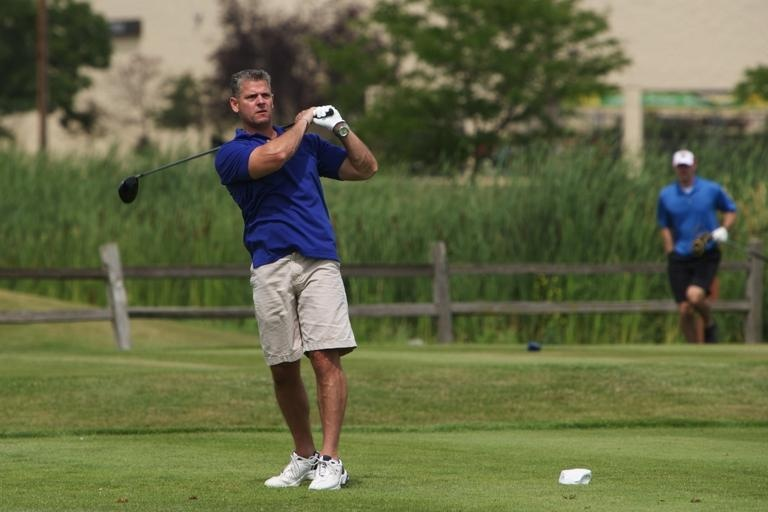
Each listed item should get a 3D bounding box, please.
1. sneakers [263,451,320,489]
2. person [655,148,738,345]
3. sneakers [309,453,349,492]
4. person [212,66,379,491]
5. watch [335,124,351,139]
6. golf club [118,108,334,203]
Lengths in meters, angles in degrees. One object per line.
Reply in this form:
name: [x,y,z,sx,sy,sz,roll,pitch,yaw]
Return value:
sneakers: [-0.631,1.561,13.557,0.487,0.220,0.174,-3,2,-35]
person: [2.519,-0.076,15.120,0.543,1.498,0.468,-9,16,-31]
sneakers: [-0.407,1.536,13.383,0.280,0.228,0.212,-2,13,-2]
person: [-0.737,0.157,13.819,0.969,3.434,0.781,0,0,-2]
watch: [-0.313,-0.900,13.715,0.097,0.110,0.105,9,14,-5]
golf club: [-1.540,-0.639,13.925,0.162,0.162,1.250,13,-23,-42]
